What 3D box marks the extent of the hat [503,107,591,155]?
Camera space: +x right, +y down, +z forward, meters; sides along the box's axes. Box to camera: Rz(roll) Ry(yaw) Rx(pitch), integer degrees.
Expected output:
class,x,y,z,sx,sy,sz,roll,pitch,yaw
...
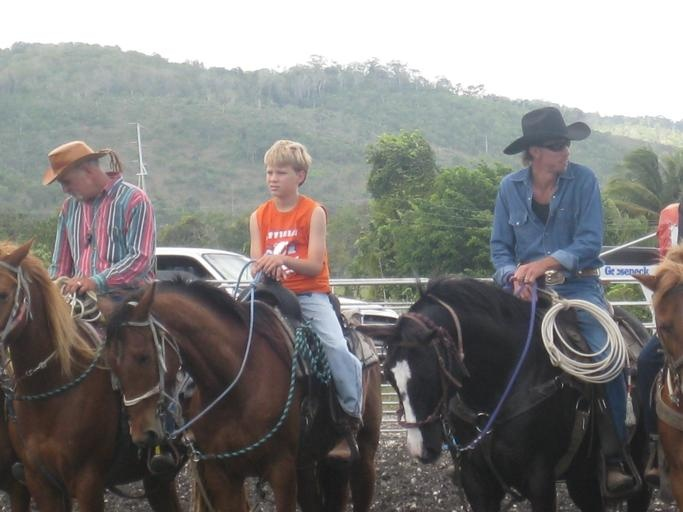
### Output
class,x,y,z,sx,sy,sz,roll,pitch,yaw
hat,1.513,-0.925,6.231,0.499,0.203,0.386,-24,-2,29

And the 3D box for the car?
class,x,y,z,sx,sy,sz,roll,pitch,yaw
car,-0.877,0.521,10.368,2.843,1.303,1.379,-1,-2,7

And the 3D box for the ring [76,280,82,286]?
class,x,y,z,sx,sy,sz,roll,pitch,yaw
ring,-1.916,0.201,6.171,0.026,0.023,0.043,-21,7,12

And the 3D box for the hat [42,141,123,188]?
class,x,y,z,sx,sy,sz,roll,pitch,yaw
hat,-1.998,-0.781,6.525,0.485,0.216,0.382,-35,10,-40

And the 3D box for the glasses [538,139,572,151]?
class,x,y,z,sx,sy,sz,roll,pitch,yaw
glasses,1.564,-0.803,6.147,0.102,0.040,0.122,-2,-6,-15
